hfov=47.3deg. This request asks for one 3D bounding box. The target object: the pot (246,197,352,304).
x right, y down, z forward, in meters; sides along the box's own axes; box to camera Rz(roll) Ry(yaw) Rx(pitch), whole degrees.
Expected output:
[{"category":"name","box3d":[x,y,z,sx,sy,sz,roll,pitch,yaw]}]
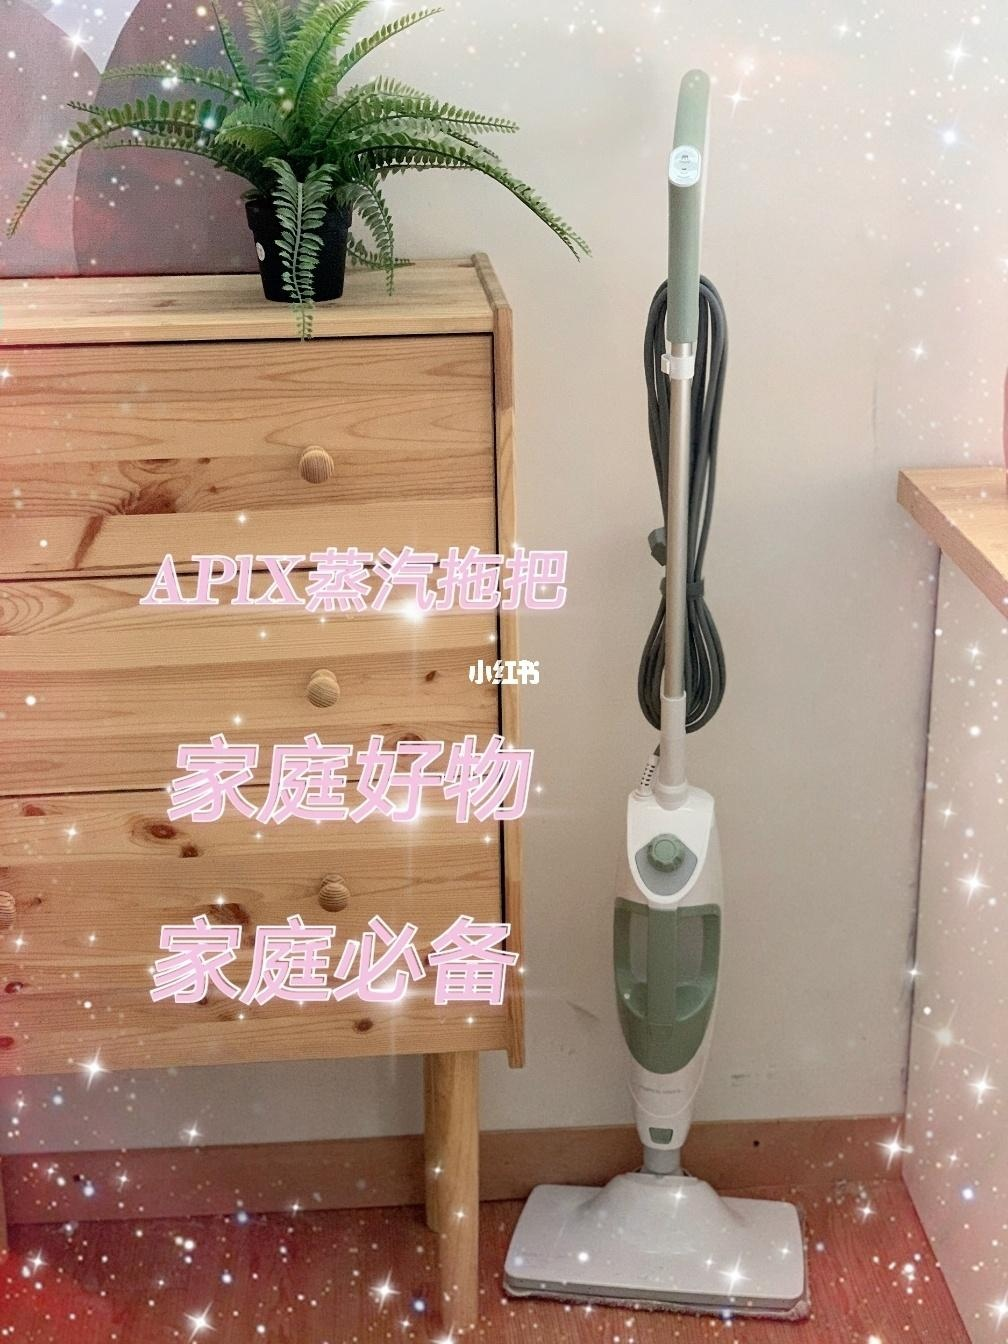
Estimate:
[{"category":"pot","box3d":[-0.170,-0.362,1.000,0.100,0.081,0.104,1,41,-1]}]
